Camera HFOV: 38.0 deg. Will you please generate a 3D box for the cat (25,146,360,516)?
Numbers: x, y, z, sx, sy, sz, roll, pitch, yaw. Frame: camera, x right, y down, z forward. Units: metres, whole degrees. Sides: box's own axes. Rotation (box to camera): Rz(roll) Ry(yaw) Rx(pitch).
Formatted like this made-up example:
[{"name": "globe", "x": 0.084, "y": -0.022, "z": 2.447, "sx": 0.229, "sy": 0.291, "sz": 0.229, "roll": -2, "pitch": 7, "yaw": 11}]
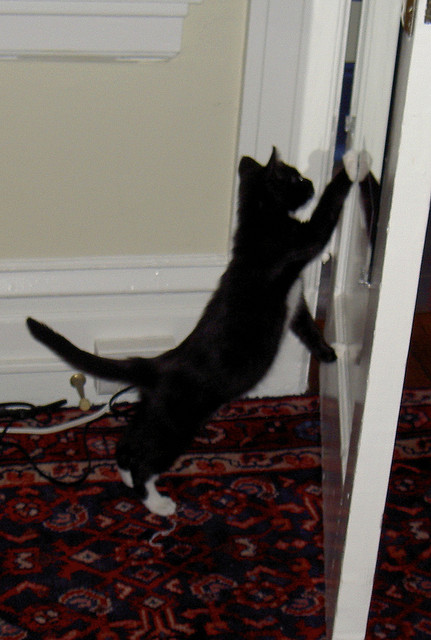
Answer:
[{"name": "cat", "x": -0.010, "y": 0.020, "z": 1.288, "sx": 0.804, "sy": 0.567, "sz": 0.234, "roll": -35, "pitch": 39, "yaw": -24}]
